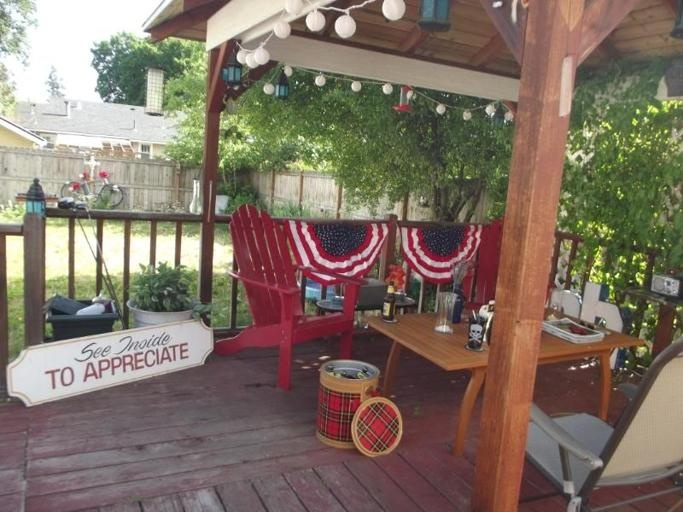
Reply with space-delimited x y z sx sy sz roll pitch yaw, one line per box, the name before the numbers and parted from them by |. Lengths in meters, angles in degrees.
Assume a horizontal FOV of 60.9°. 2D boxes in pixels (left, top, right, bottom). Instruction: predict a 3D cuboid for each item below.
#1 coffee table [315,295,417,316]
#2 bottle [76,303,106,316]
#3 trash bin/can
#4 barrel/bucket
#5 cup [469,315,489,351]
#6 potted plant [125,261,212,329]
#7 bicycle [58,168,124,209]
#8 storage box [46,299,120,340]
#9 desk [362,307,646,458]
coffee table | 0.219 0.418 4.997 0.463 0.148 0.282 -2 7 -16
bottle | -1.766 0.374 4.091 0.145 0.064 0.086 -13 37 -32
trash bin/can | 0.015 0.951 3.725 0.346 0.438 0.369 7 5 -30
barrel/bucket | 0.077 0.918 3.740 0.375 0.498 0.606 -2 9 -33
cup | 0.853 0.488 3.656 0.119 0.212 0.125 6 9 -1
potted plant | -1.341 0.284 4.577 0.527 0.538 0.522 4 5 -9
bicycle | -6.104 -1.567 14.207 1.402 0.937 0.653 3 -29 -22
storage box | -1.866 0.441 4.140 0.443 0.303 0.470 -2 7 -30
desk | 0.997 0.602 3.853 1.093 0.604 1.109 1 8 -20
